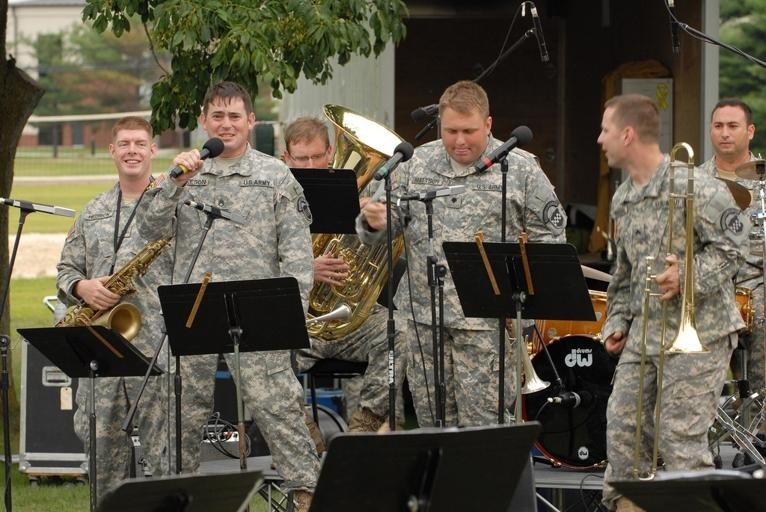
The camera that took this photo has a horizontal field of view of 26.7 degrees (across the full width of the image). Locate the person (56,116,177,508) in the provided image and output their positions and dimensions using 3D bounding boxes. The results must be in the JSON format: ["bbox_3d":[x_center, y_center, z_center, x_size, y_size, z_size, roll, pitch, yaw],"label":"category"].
[{"bbox_3d":[-2.332,0.491,13.782,1.202,2.946,1.388,2,-8,-2],"label":"person"}]

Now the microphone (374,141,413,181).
[{"bbox_3d":[0.080,-0.745,12.693,0.155,0.147,0.513,25,49,25],"label":"microphone"}]

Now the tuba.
[{"bbox_3d":[-0.238,-0.283,13.887,0.909,1.931,1.242,3,-6,-2],"label":"tuba"}]

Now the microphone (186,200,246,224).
[{"bbox_3d":[-1.322,-0.356,12.949,0.587,0.089,0.080,16,-10,-37],"label":"microphone"}]

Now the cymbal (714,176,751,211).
[{"bbox_3d":[3.043,-0.529,13.705,0.398,0.091,0.256,39,-28,-19],"label":"cymbal"}]

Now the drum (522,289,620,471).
[{"bbox_3d":[1.645,1.129,14.200,1.231,1.304,0.544,0,-3,4],"label":"drum"}]

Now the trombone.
[{"bbox_3d":[2.188,0.405,12.526,0.643,2.417,0.526,-6,-5,-6],"label":"trombone"}]
